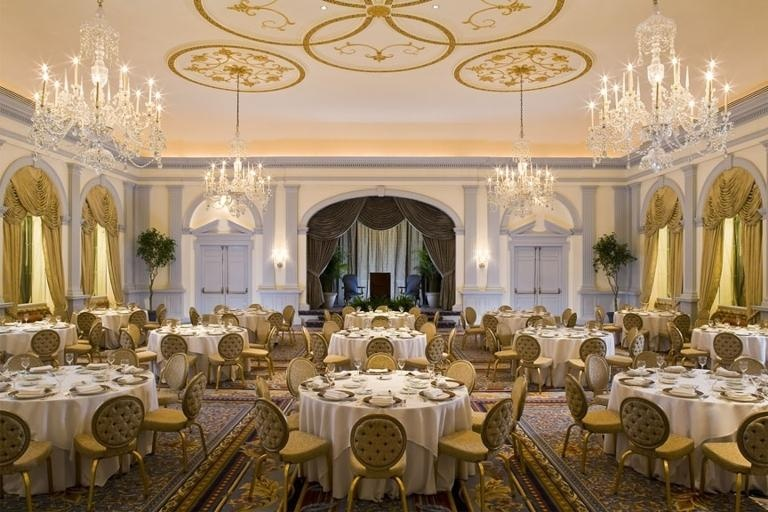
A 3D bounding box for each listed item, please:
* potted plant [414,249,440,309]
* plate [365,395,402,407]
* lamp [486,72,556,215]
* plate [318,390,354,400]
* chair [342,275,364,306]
[{"bbox_3d":[1.774,0.750,20.861,0.851,2.508,2.444,0,-5,0],"label":"potted plant"},{"bbox_3d":[-0.010,1.765,6.479,0.455,0.107,0.205,0,-5,-1],"label":"plate"},{"bbox_3d":[3.427,-2.925,13.165,1.430,3.755,1.495,0,-5,-6],"label":"lamp"},{"bbox_3d":[-0.611,1.744,6.686,0.455,0.092,0.271,-1,-6,4],"label":"plate"},{"bbox_3d":[-1.337,1.284,21.259,1.053,1.680,1.027,0,-4,-16],"label":"chair"}]
